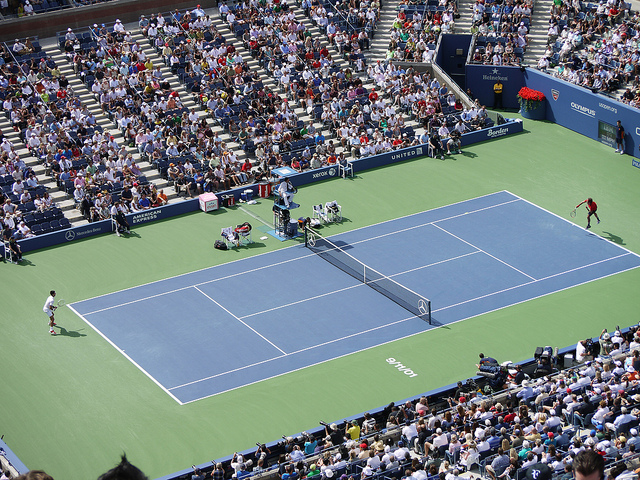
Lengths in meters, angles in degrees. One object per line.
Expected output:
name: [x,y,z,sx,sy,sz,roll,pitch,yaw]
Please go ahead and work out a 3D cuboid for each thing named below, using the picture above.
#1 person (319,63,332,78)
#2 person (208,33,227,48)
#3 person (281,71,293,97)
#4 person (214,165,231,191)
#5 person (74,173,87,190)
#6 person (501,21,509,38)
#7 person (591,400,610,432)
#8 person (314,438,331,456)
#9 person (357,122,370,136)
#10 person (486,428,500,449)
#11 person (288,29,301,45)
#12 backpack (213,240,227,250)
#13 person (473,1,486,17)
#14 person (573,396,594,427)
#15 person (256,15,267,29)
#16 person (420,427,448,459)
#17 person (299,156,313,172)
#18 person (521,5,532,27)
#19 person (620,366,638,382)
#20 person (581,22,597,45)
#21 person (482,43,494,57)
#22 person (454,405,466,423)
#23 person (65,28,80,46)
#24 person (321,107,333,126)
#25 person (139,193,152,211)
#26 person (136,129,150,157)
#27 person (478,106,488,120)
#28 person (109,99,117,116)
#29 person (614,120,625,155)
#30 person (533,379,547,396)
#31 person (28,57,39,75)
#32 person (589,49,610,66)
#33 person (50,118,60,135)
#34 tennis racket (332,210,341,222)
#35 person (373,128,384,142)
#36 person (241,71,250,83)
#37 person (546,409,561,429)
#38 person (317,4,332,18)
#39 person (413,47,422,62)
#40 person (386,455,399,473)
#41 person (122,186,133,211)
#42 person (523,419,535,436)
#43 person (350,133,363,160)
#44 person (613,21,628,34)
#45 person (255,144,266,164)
person: [0.210,-10.753,70.066,0.834,1.198,0.709,-12,17,-33]
person: [-6.669,-12.657,70.180,0.977,0.849,0.202,-35,-5,-9]
person: [-2.146,-9.784,68.915,0.595,1.353,0.829,-8,25,-5]
person: [-5.559,-3.529,61.926,0.718,1.336,0.595,-1,26,11]
person: [-13.095,-3.169,59.893,0.607,0.799,0.512,-18,35,-32]
person: [12.190,-13.772,72.462,0.500,0.805,0.724,-1,25,11]
person: [10.573,6.549,41.481,0.481,0.873,0.921,13,31,35]
person: [0.076,7.846,42.423,0.595,0.430,1.206,-1,25,9]
person: [2.563,-6.619,66.072,0.870,0.975,0.550,-11,3,-37]
person: [6.439,7.357,40.935,0.510,0.719,0.412,-6,20,2]
person: [-1.754,-13.069,71.278,0.749,0.801,1.044,-9,25,-6]
backpack: [-5.264,0.259,57.435,0.549,0.241,0.344,18,7,-40]
person: [10.746,-15.475,73.867,0.756,0.715,1.019,-2,25,9]
person: [10.129,6.473,42.118,1.011,1.210,0.333,-22,30,-31]
person: [-3.924,-14.137,71.766,0.525,0.602,1.426,-13,26,-14]
person: [4.295,7.624,41.158,1.106,1.015,0.611,-16,27,-20]
person: [-0.951,-4.432,63.702,0.533,0.671,0.855,-6,25,0]
person: [13.740,-14.786,72.815,0.724,1.309,0.610,9,29,30]
person: [12.310,5.333,43.740,0.647,0.309,1.350,2,26,17]
person: [17.171,-13.123,69.882,0.764,1.116,0.673,-26,31,-36]
person: [11.148,-12.457,72.398,0.684,0.615,0.866,7,28,26]
person: [5.356,6.586,42.133,0.310,0.672,0.738,3,26,19]
person: [-15.402,-12.500,67.984,0.736,0.914,0.840,-3,25,6]
person: [0.403,-7.428,66.639,0.627,1.117,0.623,21,40,41]
person: [-9.597,-2.057,59.950,0.688,0.934,0.679,-17,20,-36]
person: [-10.235,-5.574,63.163,0.626,1.430,0.505,-25,31,-35]
person: [10.092,-7.908,68.233,0.756,1.084,0.719,-1,26,6]
person: [-12.350,-7.830,64.951,0.426,0.748,0.666,-10,25,-9]
person: [17.766,-6.035,65.023,0.502,2.060,0.537,-26,32,-36]
person: [8.743,5.833,43.721,0.557,0.263,0.742,-7,-5,13]
person: [-17.218,-10.400,65.818,0.511,0.728,1.567,-13,26,-15]
person: [17.352,-11.202,67.978,1.384,0.504,0.868,-55,36,-11]
person: [-15.135,-6.444,62.489,0.546,0.725,0.306,-8,5,-42]
tennis racket: [0.863,-1.307,59.963,0.033,0.670,0.252,-33,-14,2]
person: [3.445,-6.211,65.602,0.610,0.615,0.776,-6,25,-1]
person: [-4.672,-10.093,68.383,0.485,0.734,0.507,-3,-5,-25]
person: [8.817,6.717,41.414,0.446,0.427,0.809,1,26,15]
person: [0.088,-15.147,73.371,0.636,0.905,0.886,-18,22,-29]
person: [6.427,-12.125,72.236,0.553,0.761,0.745,14,31,36]
person: [2.604,8.153,40.215,0.438,0.721,0.414,-5,24,-5]
person: [-10.500,-2.255,59.806,0.508,1.183,0.775,-3,25,7]
person: [7.750,6.881,40.813,0.387,0.474,0.952,-2,25,9]
person: [2.115,-5.575,65.030,0.675,1.346,0.728,-11,25,-10]
person: [18.827,-13.089,68.264,1.002,0.566,0.478,-39,52,2]
person: [-3.428,-4.882,63.270,0.503,0.931,1.088,-11,25,-10]
